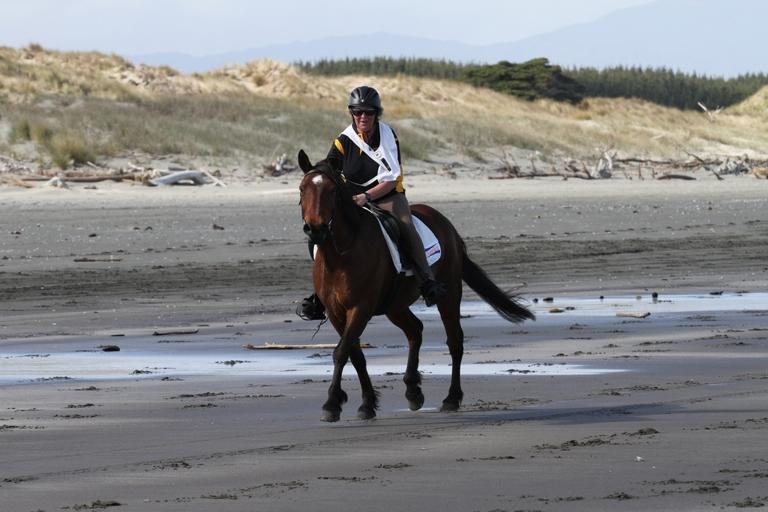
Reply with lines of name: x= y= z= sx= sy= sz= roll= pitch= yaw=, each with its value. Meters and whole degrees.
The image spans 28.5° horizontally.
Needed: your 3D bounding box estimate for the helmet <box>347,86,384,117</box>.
helmet: x=-0.315 y=-2.556 z=25.265 sx=0.565 sy=0.478 sz=0.363 roll=0 pitch=12 yaw=0
